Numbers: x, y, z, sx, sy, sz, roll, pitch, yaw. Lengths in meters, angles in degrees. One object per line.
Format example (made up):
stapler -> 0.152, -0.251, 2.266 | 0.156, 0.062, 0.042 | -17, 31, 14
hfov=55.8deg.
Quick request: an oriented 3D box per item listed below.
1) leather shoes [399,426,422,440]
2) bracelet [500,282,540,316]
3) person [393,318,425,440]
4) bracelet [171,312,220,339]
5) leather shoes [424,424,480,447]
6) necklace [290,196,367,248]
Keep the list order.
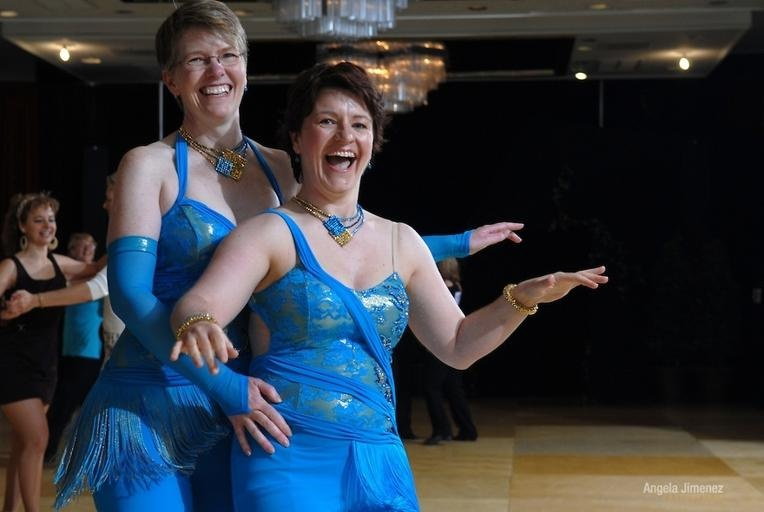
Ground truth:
leather shoes -> 0.208, 1.271, 5.349 | 0.141, 0.150, 0.081 | 1, -27, -15
bracelet -> 0.518, 0.155, 2.780 | 0.136, 0.040, 0.120 | 52, 25, 20
person -> 0.171, 1.000, 5.504 | 0.256, 1.211, 0.243 | -18, 39, -19
bracelet -> -0.624, 0.229, 2.362 | 0.097, 0.092, 0.039 | -8, 13, -10
leather shoes -> 0.534, 1.340, 5.439 | 0.443, 0.206, 0.152 | 4, -8, -2
necklace -> -0.189, -0.142, 2.684 | 0.224, 0.055, 0.174 | 44, 40, 0
